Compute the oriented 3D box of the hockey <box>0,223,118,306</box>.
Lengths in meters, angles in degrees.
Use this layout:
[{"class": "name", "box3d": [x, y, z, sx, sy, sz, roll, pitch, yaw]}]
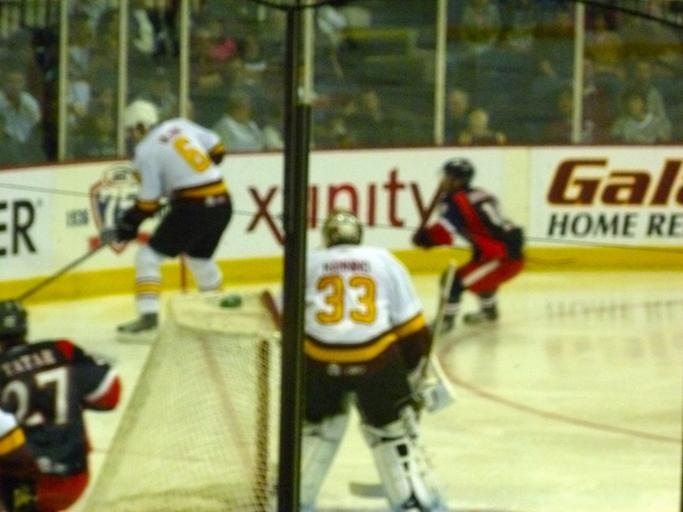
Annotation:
[{"class": "hockey", "box3d": [-0.994, 0.028, 3.209, 0.495, 0.058, 0.052, -29, 3, -6]}]
